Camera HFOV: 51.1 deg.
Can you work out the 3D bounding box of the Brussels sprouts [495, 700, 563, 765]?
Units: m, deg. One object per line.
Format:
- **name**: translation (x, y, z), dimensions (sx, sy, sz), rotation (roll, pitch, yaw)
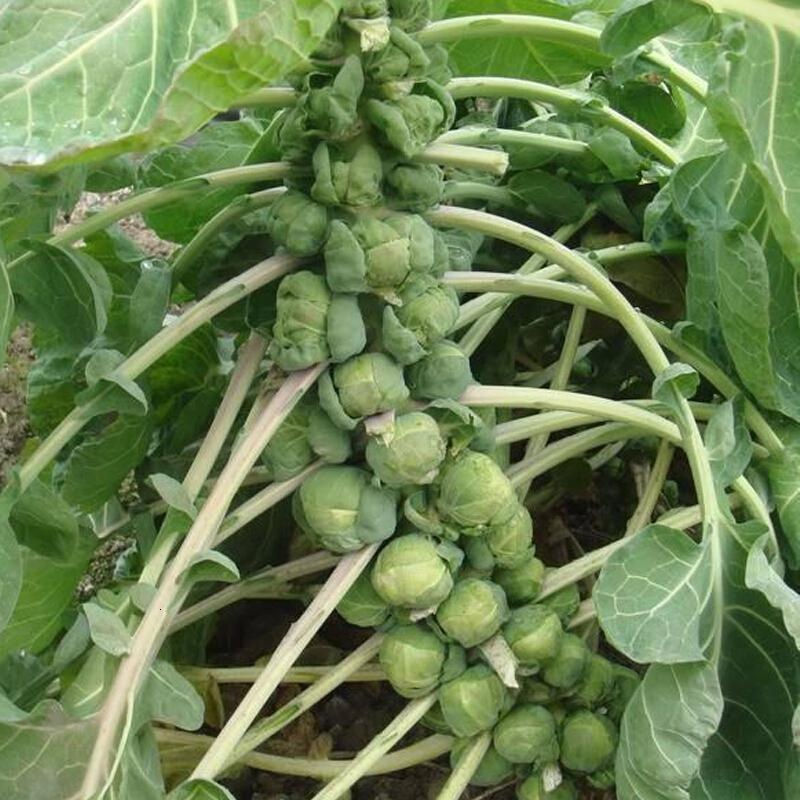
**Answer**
- **Brussels sprouts**: translation (0.202, 0.553, 1.393), dimensions (0.118, 0.084, 0.056), rotation (-4, 60, -12)
